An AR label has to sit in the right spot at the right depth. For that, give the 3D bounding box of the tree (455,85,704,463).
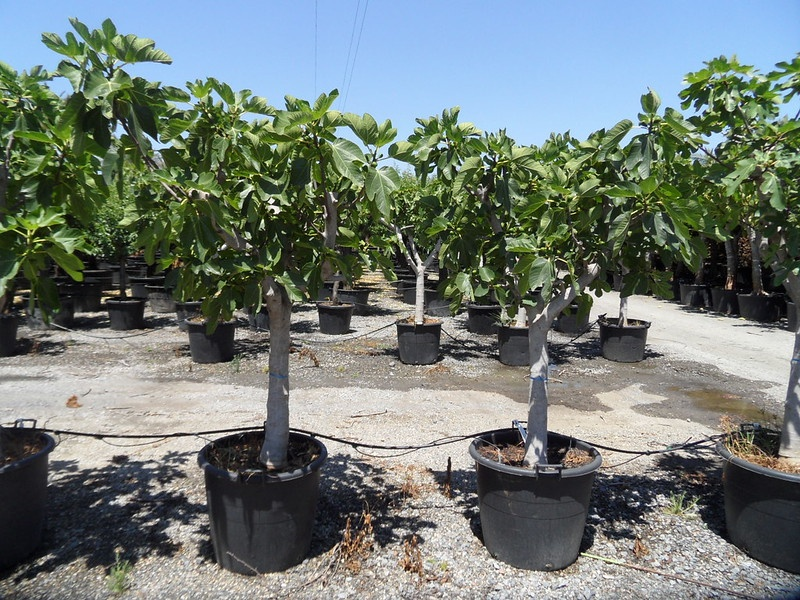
[{"bbox_3d":[1.325,-0.041,3.982,1.527,2.853,1.612,-7,12,-39],"label":"tree"}]

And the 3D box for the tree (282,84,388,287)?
[{"bbox_3d":[-0.474,-0.700,3.495,0.846,1.174,0.851,6,37,7],"label":"tree"}]

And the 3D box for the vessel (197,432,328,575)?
[{"bbox_3d":[-1.059,1.558,4.144,1.018,0.805,1.077,0,5,-12],"label":"vessel"}]

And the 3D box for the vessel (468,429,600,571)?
[{"bbox_3d":[1.098,1.507,4.266,0.956,0.788,0.997,1,2,10],"label":"vessel"}]
